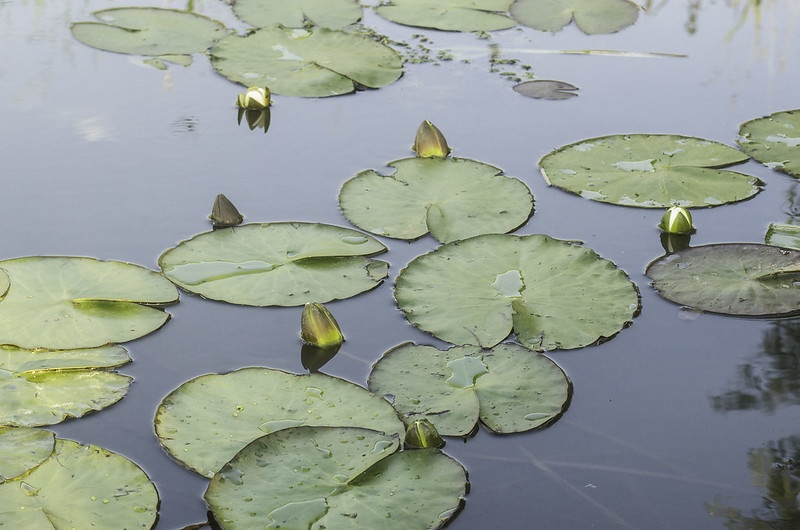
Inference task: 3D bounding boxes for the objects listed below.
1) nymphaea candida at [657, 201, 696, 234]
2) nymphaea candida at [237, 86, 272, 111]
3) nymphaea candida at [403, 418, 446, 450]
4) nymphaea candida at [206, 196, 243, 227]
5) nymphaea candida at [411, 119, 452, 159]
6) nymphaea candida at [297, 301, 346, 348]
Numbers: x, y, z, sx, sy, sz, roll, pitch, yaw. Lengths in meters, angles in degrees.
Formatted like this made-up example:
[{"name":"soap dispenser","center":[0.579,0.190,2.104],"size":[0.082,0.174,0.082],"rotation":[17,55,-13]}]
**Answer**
[{"name":"nymphaea candida","center":[1.609,-0.277,5.660],"size":[0.182,0.093,0.183],"rotation":[-7,30,-11]},{"name":"nymphaea candida","center":[-1.009,-1.175,6.742],"size":[0.252,0.148,0.208],"rotation":[-7,28,-16]},{"name":"nymphaea candida","center":[0.103,0.809,4.576],"size":[0.157,0.147,0.067],"rotation":[-26,9,0]},{"name":"nymphaea candida","center":[-1.065,-0.326,5.718],"size":[0.230,0.176,0.214],"rotation":[-11,7,-32]},{"name":"nymphaea candida","center":[0.200,-0.814,6.199],"size":[0.250,0.221,0.235],"rotation":[2,28,2]},{"name":"nymphaea candida","center":[-0.438,0.312,5.068],"size":[0.246,0.110,0.281],"rotation":[-5,44,-23]}]
